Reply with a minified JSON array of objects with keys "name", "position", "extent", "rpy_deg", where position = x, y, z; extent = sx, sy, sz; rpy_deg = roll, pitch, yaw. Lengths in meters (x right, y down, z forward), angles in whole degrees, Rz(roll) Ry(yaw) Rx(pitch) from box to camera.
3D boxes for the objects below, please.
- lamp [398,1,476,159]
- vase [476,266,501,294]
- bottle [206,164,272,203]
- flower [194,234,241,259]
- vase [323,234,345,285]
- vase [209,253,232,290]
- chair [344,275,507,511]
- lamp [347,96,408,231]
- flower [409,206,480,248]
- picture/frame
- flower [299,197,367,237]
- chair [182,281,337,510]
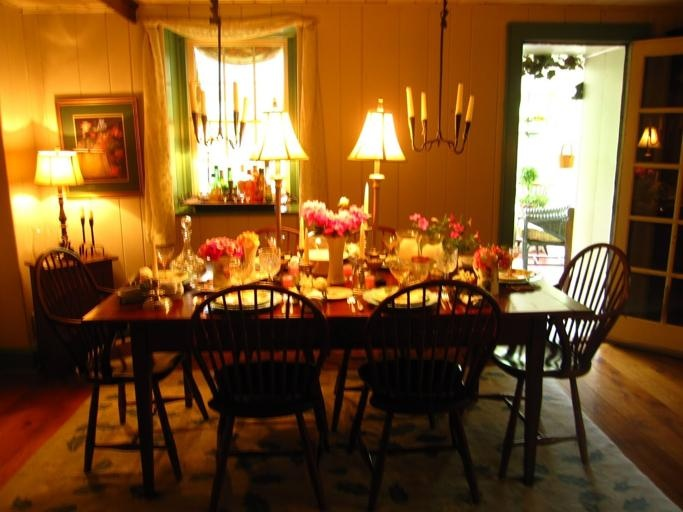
[{"name":"lamp","position":[0.720,-1.348,4.182],"extent":[0.562,1.264,1.614],"rpy_deg":[2,13,13]},{"name":"vase","position":[0.873,0.141,3.315],"extent":[0.134,0.265,0.144],"rpy_deg":[-1,1,3]},{"name":"bottle","position":[-0.912,-0.596,5.025],"extent":[0.408,0.311,0.455],"rpy_deg":[2,6,-1]},{"name":"flower","position":[-0.732,-0.033,3.359],"extent":[0.299,0.145,0.149],"rpy_deg":[6,15,29]},{"name":"vase","position":[-0.030,0.028,3.510],"extent":[0.204,0.300,0.216],"rpy_deg":[-2,11,-12]},{"name":"vase","position":[-0.708,0.089,3.343],"extent":[0.160,0.239,0.155],"rpy_deg":[5,5,32]},{"name":"chair","position":[0.464,0.644,3.338],"extent":[0.838,1.267,0.971],"rpy_deg":[-1,13,1]},{"name":"lamp","position":[0.272,-0.731,4.464],"extent":[0.467,0.991,1.881],"rpy_deg":[0,13,6]},{"name":"flower","position":[0.732,-0.170,3.968],"extent":[0.375,0.268,0.607],"rpy_deg":[15,4,-2]},{"name":"picture/frame","position":[-2.051,-0.966,4.713],"extent":[0.747,1.163,0.059],"rpy_deg":[-2,6,-8]},{"name":"flower","position":[-0.058,-0.216,3.455],"extent":[0.293,0.218,0.233],"rpy_deg":[3,3,-23]},{"name":"chair","position":[-0.439,0.617,3.326],"extent":[0.835,1.839,1.069],"rpy_deg":[0,18,-6]}]
